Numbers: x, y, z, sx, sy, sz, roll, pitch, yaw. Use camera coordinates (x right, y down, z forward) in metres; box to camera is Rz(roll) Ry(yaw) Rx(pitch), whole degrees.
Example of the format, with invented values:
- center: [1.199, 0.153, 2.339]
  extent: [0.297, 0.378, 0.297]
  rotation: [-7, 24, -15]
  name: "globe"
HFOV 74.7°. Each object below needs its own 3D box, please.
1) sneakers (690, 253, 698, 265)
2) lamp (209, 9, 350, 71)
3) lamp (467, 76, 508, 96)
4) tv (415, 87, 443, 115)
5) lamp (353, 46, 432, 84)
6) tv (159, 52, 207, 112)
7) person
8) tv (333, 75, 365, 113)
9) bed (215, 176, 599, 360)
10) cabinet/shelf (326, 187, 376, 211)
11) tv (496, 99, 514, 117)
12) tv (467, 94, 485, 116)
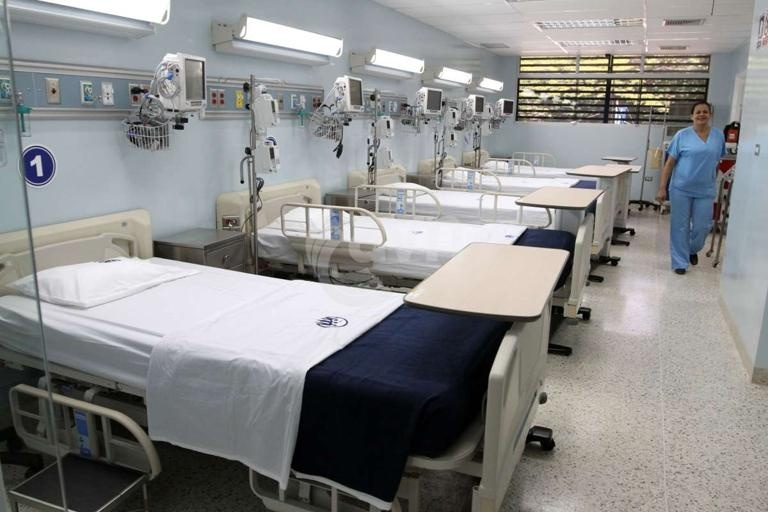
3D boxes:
- center: [3.675, 0.045, 5.944]
  extent: [0.081, 0.136, 0.138]
  rotation: [-7, 8, 29]
  name: "sneakers"
- center: [-0.976, -1.998, 4.739]
  extent: [0.316, 0.293, 1.341]
  rotation: [11, 19, 30]
  name: "lamp"
- center: [1.940, -3.243, 9.586]
  extent: [0.362, 0.371, 1.353]
  rotation: [11, 17, 33]
  name: "lamp"
- center: [0.618, -2.107, 6.894]
  extent: [0.240, 0.373, 0.444]
  rotation: [7, 18, 26]
  name: "tv"
- center: [0.049, -2.431, 6.384]
  extent: [0.326, 0.290, 1.232]
  rotation: [12, 19, 32]
  name: "lamp"
- center: [-1.444, -1.231, 3.605]
  extent: [0.281, 0.455, 0.395]
  rotation: [6, 13, 15]
  name: "tv"
- center: [3.346, -0.746, 5.541]
  extent: [0.555, 1.835, 0.550]
  rotation: [12, 20, 32]
  name: "person"
- center: [-0.380, -1.683, 5.251]
  extent: [0.220, 0.349, 0.381]
  rotation: [2, 15, 21]
  name: "tv"
- center: [0.471, -0.141, 4.840]
  extent: [1.901, 1.088, 2.339]
  rotation: [-27, 24, -31]
  name: "bed"
- center: [-0.385, -0.586, 5.779]
  extent: [0.478, 0.328, 0.467]
  rotation: [1, 3, -12]
  name: "cabinet/shelf"
- center: [2.343, -2.868, 9.747]
  extent: [0.180, 0.325, 1.168]
  rotation: [7, 17, 21]
  name: "tv"
- center: [1.498, -2.459, 8.265]
  extent: [0.178, 0.287, 0.339]
  rotation: [3, 20, 18]
  name: "tv"
